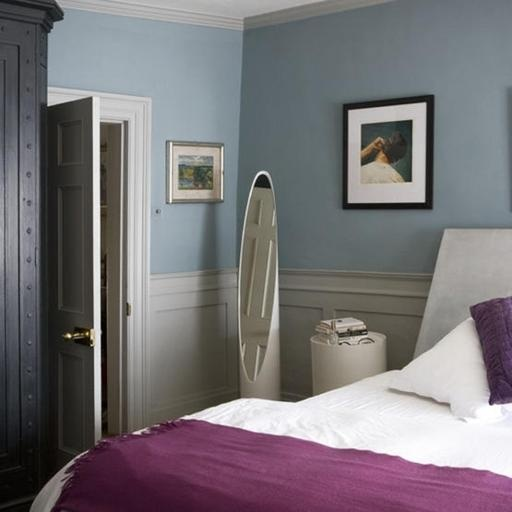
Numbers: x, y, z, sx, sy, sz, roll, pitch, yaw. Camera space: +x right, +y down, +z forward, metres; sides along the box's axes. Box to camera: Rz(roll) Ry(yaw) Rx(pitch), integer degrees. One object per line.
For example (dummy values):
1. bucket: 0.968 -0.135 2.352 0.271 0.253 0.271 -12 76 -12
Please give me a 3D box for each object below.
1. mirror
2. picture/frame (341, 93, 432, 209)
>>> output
1. mirror: 0.022 0.266 3.266 0.259 1.594 0.254 8 17 30
2. picture/frame: 0.905 -0.719 3.286 0.596 0.833 0.056 5 45 18
